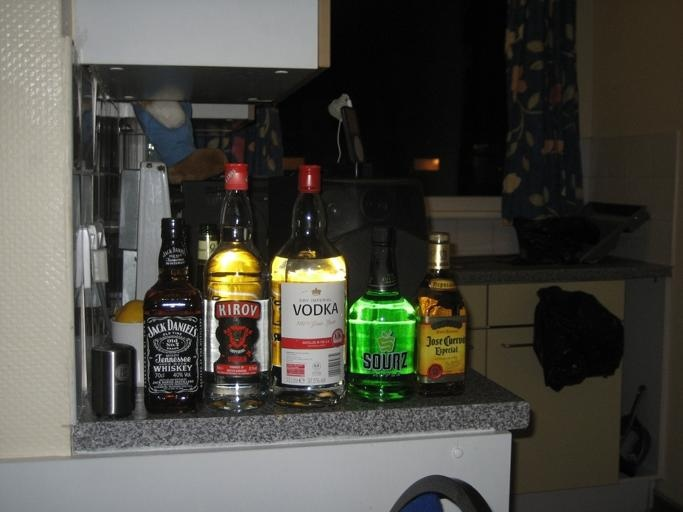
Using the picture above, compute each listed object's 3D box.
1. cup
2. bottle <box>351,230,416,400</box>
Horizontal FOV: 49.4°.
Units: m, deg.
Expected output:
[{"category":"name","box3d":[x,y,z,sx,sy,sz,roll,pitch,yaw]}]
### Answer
[{"category":"cup","box3d":[-0.421,0.231,1.373,0.078,0.125,0.075,0,0,0]},{"category":"bottle","box3d":[0.070,0.112,1.403,0.142,0.236,0.127,-4,2,4]}]
